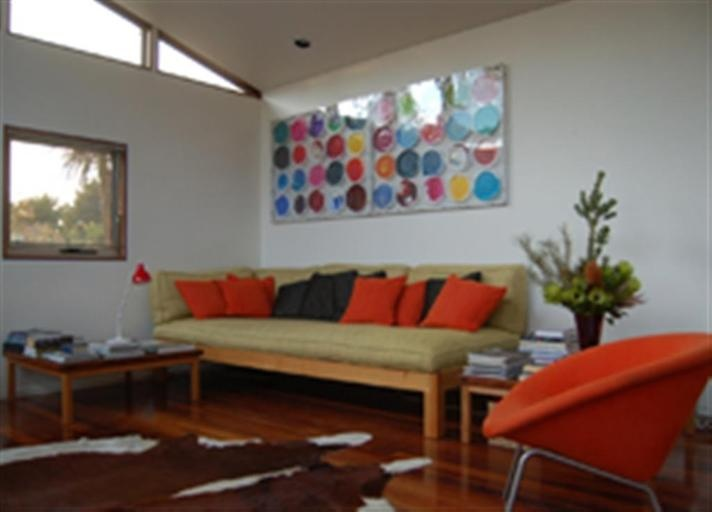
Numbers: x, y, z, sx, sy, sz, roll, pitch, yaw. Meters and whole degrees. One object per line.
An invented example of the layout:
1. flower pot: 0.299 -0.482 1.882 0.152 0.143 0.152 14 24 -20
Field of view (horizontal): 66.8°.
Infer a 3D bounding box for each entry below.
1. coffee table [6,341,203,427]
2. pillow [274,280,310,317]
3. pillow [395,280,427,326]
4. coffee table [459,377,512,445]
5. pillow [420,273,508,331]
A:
1. coffee table: -2.139 0.977 4.354 1.550 0.467 0.940 1 3 18
2. pillow: -0.622 0.418 5.202 0.342 0.340 0.105 -6 -25 35
3. pillow: 0.459 0.401 4.498 0.340 0.310 0.104 -5 -22 43
4. coffee table: 0.858 1.013 3.638 0.388 0.371 0.388 -2 -4 40
5. pillow: 0.838 0.369 4.262 0.502 0.402 0.423 -1 3 -25
